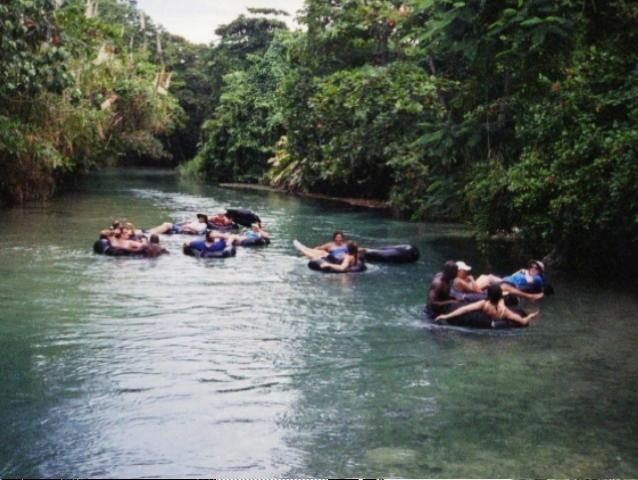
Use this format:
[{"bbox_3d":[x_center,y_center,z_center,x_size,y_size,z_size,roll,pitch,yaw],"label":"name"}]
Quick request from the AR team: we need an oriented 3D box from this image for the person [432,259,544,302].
[{"bbox_3d":[3.881,0.947,12.031,1.525,0.651,1.119,2,1,3],"label":"person"}]

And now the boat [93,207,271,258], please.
[{"bbox_3d":[-3.949,-0.515,18.944,4.678,1.298,8.020,2,12,3],"label":"boat"}]

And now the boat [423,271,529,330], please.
[{"bbox_3d":[3.000,1.153,10.489,1.494,0.711,0.988,0,6,-3],"label":"boat"}]

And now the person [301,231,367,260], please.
[{"bbox_3d":[0.161,0.338,15.526,1.217,0.582,0.966,-10,28,26],"label":"person"}]

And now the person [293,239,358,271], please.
[{"bbox_3d":[0.229,0.296,14.778,0.938,0.805,1.867,-8,15,-36],"label":"person"}]

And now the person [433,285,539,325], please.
[{"bbox_3d":[3.166,1.296,10.314,1.001,0.436,1.121,4,6,8],"label":"person"}]

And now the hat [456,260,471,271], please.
[{"bbox_3d":[3.223,0.582,12.398,0.313,0.124,0.220,3,18,25],"label":"hat"}]
